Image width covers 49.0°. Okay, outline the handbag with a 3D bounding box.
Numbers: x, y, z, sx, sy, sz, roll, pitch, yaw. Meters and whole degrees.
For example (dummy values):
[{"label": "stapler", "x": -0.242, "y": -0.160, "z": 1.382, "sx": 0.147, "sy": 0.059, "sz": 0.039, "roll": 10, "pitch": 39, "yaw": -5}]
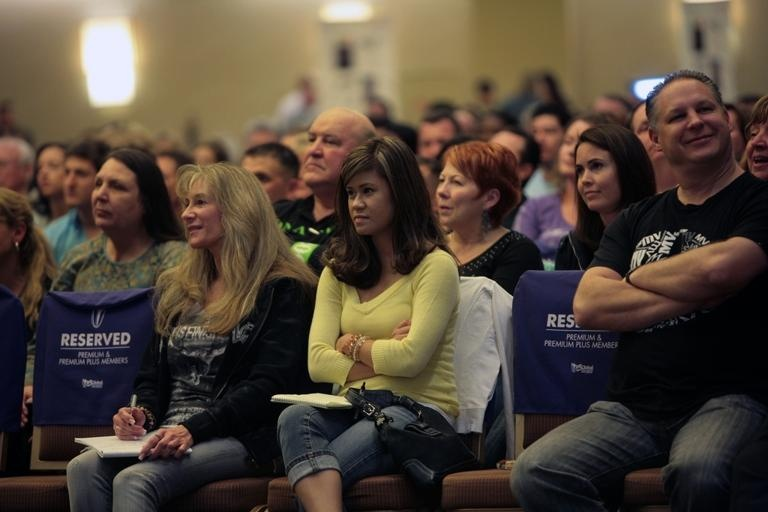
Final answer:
[{"label": "handbag", "x": 0.199, "y": 1.044, "z": 4.571, "sx": 0.333, "sy": 0.571, "sz": 0.258, "roll": -42, "pitch": 0, "yaw": -17}]
